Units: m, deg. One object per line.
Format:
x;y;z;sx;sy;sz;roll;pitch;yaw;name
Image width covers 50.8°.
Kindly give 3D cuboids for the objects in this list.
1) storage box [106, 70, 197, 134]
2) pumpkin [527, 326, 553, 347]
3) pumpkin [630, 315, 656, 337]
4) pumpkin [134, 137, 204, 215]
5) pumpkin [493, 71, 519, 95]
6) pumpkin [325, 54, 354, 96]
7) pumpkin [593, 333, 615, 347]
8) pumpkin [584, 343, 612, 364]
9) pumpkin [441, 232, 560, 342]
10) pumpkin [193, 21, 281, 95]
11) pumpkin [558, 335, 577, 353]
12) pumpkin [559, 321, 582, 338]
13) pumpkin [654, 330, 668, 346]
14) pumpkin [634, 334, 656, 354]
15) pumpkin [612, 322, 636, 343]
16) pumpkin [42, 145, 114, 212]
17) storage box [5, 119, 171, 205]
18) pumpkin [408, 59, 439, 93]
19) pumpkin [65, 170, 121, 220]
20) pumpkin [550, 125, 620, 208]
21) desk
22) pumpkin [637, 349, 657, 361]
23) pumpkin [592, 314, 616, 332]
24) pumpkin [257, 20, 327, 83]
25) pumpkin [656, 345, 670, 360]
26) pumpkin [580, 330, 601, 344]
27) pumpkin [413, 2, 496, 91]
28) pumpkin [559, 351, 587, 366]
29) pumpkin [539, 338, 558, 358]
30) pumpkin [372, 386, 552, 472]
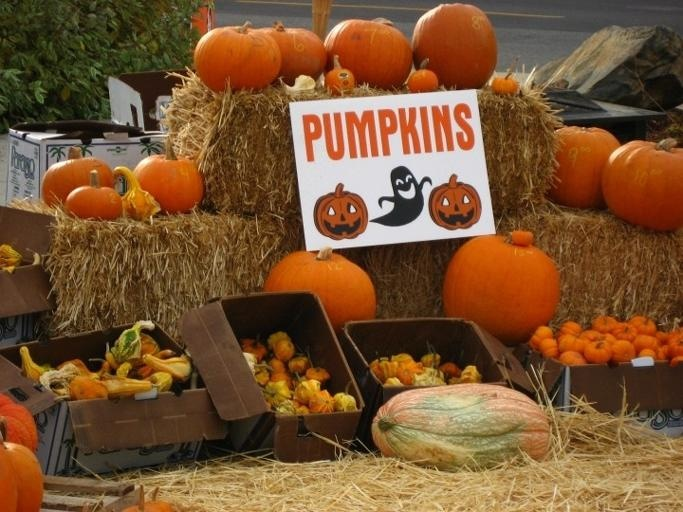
-1.601;-1.330;6.166;0.658;0.416;0.669;4;7;44;storage box
1.141;0.466;4.140;0.116;0.116;0.119;2;36;45;pumpkin
1.743;0.406;4.174;0.116;0.112;0.116;15;12;-10;pumpkin
-1.079;-0.522;4.536;0.441;0.449;0.422;3;13;-19;pumpkin
1.082;-1.128;4.785;0.172;0.174;0.177;0;9;15;pumpkin
-0.013;-1.180;4.687;0.193;0.251;0.329;1;15;4;pumpkin
1.460;0.464;3.981;0.069;0.067;0.070;-2;8;13;pumpkin
1.382;0.532;3.892;0.115;0.115;0.118;-2;12;7;pumpkin
0.961;0.145;4.531;0.663;0.626;0.669;1;5;-6;pumpkin
-0.641;-1.259;4.507;0.455;0.414;0.467;10;22;12;pumpkin
1.245;0.491;3.978;0.084;0.085;0.087;1;5;11;pumpkin
1.317;0.426;4.143;0.090;0.089;0.092;2;1;27;pumpkin
1.812;0.480;4.139;0.079;0.096;0.077;9;-16;-39;pumpkin
1.686;0.494;4.007;0.097;0.092;0.095;15;-9;-8;pumpkin
1.617;0.451;4.129;0.093;0.095;0.091;-6;-35;-3;pumpkin
-1.610;-0.500;4.520;0.379;0.370;0.391;-2;9;27;pumpkin
-1.860;-0.733;5.005;0.987;0.645;0.710;-1;3;-31;storage box
0.534;-1.193;4.761;0.226;0.213;0.354;2;15;5;pumpkin
-1.437;-0.370;4.225;0.282;0.285;0.295;1;8;-6;pumpkin
1.638;-0.657;5.045;0.536;0.513;0.522;8;13;22;pumpkin
2.407;-1.253;6.582;0.947;0.445;0.940;-8;21;-23;desk
1.673;0.530;3.936;0.077;0.078;0.077;3;8;27;pumpkin
1.531;0.394;4.210;0.100;0.096;0.101;-8;19;-13;pumpkin
-0.331;-1.328;4.783;0.388;0.366;0.395;6;12;13;pumpkin
1.773;0.539;3.983;0.070;0.070;0.070;-4;3;27;pumpkin
1.389;0.453;4.013;0.071;0.068;0.070;-1;0;-26;pumpkin
0.770;-1.369;5.031;0.559;0.548;0.571;-3;0;9;pumpkin
1.257;0.552;3.907;0.084;0.081;0.083;2;1;-26;pumpkin
1.164;0.518;4.048;0.090;0.087;0.089;37;-32;-15;pumpkin
0.557;0.773;3.437;0.748;0.390;0.365;0;4;-8;pumpkin
